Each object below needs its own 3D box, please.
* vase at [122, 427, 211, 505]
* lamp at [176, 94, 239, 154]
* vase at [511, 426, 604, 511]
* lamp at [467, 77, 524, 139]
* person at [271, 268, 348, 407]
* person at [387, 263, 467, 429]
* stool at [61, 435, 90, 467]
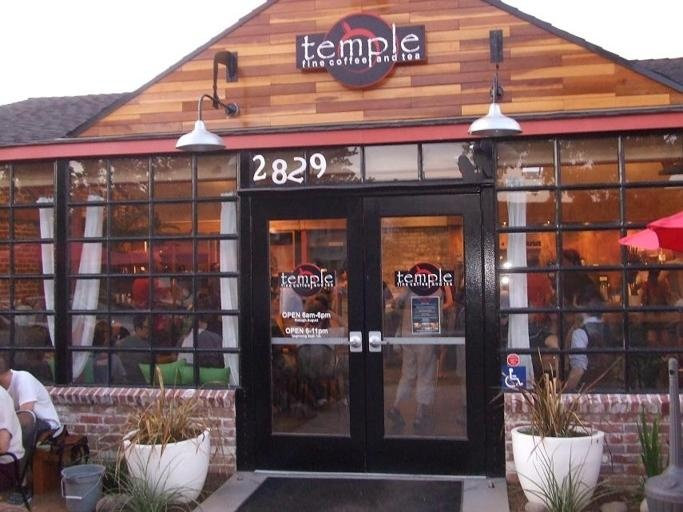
[{"bbox_3d":[-1.760,2.136,8.215,0.677,0.578,0.722,-1,-7,-1],"label":"vase"},{"bbox_3d":[-1.495,-1.423,8.969,0.451,0.627,0.863,-2,-4,15],"label":"lamp"},{"bbox_3d":[2.143,2.046,8.146,0.752,0.634,0.772,5,-8,-27],"label":"vase"},{"bbox_3d":[1.600,-1.587,8.484,0.524,0.731,0.774,-2,-6,13],"label":"lamp"},{"bbox_3d":[-0.358,0.895,9.205,0.794,1.604,0.262,0,-6,-2],"label":"person"},{"bbox_3d":[0.915,1.019,9.001,0.819,1.884,0.278,0,-6,-1],"label":"person"},{"bbox_3d":[-2.945,2.153,9.005,0.233,0.120,0.315,4,1,-1],"label":"stool"}]
